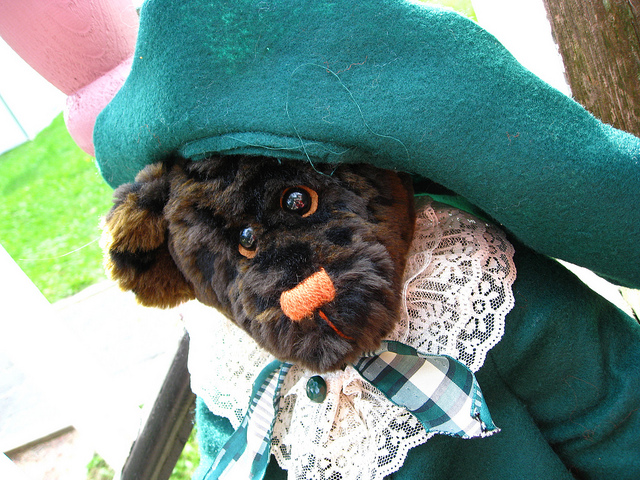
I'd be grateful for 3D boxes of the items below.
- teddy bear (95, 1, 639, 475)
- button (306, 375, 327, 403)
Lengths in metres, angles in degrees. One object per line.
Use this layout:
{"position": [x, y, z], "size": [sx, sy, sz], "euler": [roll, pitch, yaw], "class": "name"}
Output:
{"position": [0.105, -0.012, 0.973], "size": [0.674, 0.784, 0.350], "euler": [-15, 10, 5], "class": "teddy bear"}
{"position": [-0.009, 0.266, 1.032], "size": [0.015, 0.034, 0.044], "euler": [86, 177, -82], "class": "button"}
